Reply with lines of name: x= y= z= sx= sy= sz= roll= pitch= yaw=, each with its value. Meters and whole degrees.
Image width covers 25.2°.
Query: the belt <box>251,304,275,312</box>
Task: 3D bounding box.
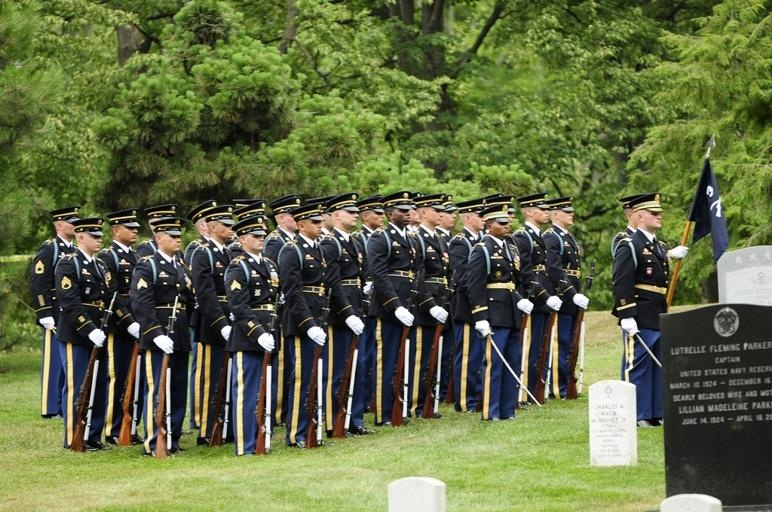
belt: x=-1.982 y=0.835 z=27.997 sx=0.365 sy=0.116 sz=0.064 roll=-1 pitch=-5 yaw=-15

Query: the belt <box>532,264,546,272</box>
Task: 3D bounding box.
belt: x=2.708 y=0.200 z=30.453 sx=0.174 sy=0.113 sz=0.060 roll=-4 pitch=5 yaw=-27

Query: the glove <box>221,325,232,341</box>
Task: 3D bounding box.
glove: x=-2.647 y=1.264 z=28.489 sx=0.197 sy=0.242 sz=0.064 roll=5 pitch=7 yaw=7

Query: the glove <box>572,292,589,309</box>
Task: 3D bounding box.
glove: x=3.437 y=0.808 z=30.375 sx=0.131 sy=0.224 sz=0.301 roll=-31 pitch=-56 yaw=29

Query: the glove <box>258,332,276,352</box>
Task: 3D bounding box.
glove: x=-1.931 y=1.391 z=27.729 sx=0.279 sy=0.318 sz=0.180 roll=-1 pitch=-5 yaw=-5

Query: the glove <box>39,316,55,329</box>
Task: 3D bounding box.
glove: x=-5.928 y=1.162 z=30.228 sx=0.223 sy=0.208 sz=0.230 roll=-6 pitch=-3 yaw=35

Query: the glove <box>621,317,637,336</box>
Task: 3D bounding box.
glove: x=4.024 y=1.153 z=28.707 sx=0.319 sy=0.272 sz=0.230 roll=0 pitch=12 yaw=-9

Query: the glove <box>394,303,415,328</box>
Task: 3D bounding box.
glove: x=0.303 y=0.986 z=28.965 sx=0.147 sy=0.369 sz=0.265 roll=-48 pitch=-6 yaw=-26

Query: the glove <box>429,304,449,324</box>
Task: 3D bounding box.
glove: x=0.895 y=0.973 z=29.221 sx=0.098 sy=0.327 sz=0.249 roll=-6 pitch=36 yaw=44

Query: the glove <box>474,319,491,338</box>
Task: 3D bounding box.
glove: x=1.626 y=1.204 z=28.955 sx=0.314 sy=0.269 sz=0.229 roll=-4 pitch=1 yaw=-6

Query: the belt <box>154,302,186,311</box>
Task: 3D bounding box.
belt: x=-3.526 y=0.831 z=28.647 sx=0.251 sy=0.142 sz=0.659 roll=-4 pitch=-5 yaw=34

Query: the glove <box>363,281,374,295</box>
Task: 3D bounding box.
glove: x=-0.312 y=0.529 z=29.900 sx=0.177 sy=0.220 sz=0.087 roll=-15 pitch=-28 yaw=39

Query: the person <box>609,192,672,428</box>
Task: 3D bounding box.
person: x=4.267 y=0.916 z=29.305 sx=1.060 sy=4.036 sz=1.336 roll=4 pitch=12 yaw=24

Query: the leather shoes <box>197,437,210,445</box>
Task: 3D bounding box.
leather shoes: x=-3.036 y=3.075 z=28.698 sx=0.186 sy=0.126 sz=0.142 roll=-4 pitch=-11 yaw=8

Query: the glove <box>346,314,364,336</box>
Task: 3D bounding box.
glove: x=-0.485 y=1.123 z=28.424 sx=0.279 sy=0.357 sz=0.121 roll=-28 pitch=10 yaw=16

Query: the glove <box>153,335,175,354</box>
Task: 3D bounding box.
glove: x=-3.616 y=1.435 z=28.071 sx=0.249 sy=0.331 sz=0.089 roll=-46 pitch=8 yaw=-26

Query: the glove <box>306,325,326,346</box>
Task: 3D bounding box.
glove: x=-1.132 y=1.299 z=28.173 sx=0.297 sy=0.311 sz=0.416 roll=-2 pitch=-4 yaw=-3

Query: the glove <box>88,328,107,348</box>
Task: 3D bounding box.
glove: x=-4.767 y=1.341 z=28.452 sx=0.247 sy=0.296 sz=0.113 roll=7 pitch=2 yaw=-5
